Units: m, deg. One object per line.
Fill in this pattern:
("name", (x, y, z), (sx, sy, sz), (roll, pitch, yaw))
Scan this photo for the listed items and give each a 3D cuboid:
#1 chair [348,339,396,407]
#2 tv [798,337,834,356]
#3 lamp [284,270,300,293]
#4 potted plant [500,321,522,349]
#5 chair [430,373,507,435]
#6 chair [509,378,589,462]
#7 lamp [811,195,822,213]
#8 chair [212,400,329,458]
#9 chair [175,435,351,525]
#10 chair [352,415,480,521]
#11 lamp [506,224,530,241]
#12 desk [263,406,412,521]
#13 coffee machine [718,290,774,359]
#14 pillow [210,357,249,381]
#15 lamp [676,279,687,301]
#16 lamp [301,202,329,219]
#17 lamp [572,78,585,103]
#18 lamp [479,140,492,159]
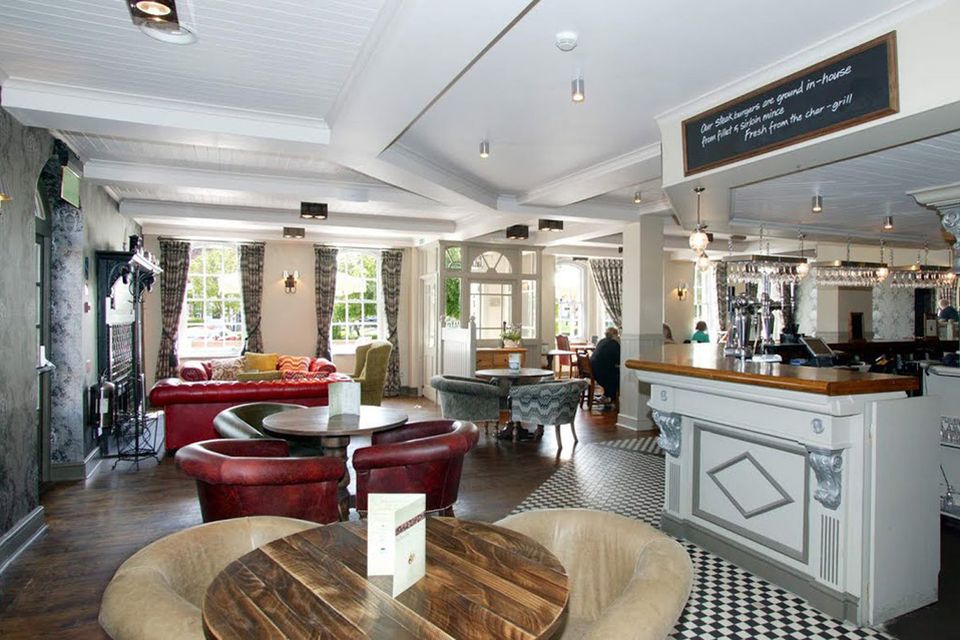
("chair", (-1.627, 0.859, 10.345), (1.023, 1.359, 1.108), (0, 1, -4))
("tv", (4.171, 0.350, 7.461), (0.290, 0.267, 0.567), (-7, -6, 27))
("lamp", (-3.742, -0.723, 12.031), (0.276, 0.432, 0.154), (-2, -6, -17))
("potted plant", (0.618, 0.319, 11.444), (0.479, 0.567, 0.448), (-2, 3, -39))
("chair", (-0.173, 1.092, 8.423), (0.916, 0.723, 0.885), (-1, 0, -17))
("chair", (0.978, 1.319, 8.271), (0.990, 0.933, 1.039), (0, -1, 28))
("lamp", (3.557, -1.212, 6.359), (0.107, 0.164, 0.111), (1, -1, -9))
("chair", (-2.079, 1.024, 5.931), (0.725, 0.672, 0.725), (-7, 1, 2))
("chair", (-1.698, 1.203, 4.649), (0.913, 0.753, 0.892), (-4, 3, -36))
("chair", (-0.563, 1.231, 5.337), (1.007, 0.823, 0.965), (2, -5, -8))
("lamp", (0.629, -1.414, 9.937), (0.282, 0.167, 0.277), (-1, -4, 17))
("desk", (-1.408, 1.198, 5.790), (1.101, 0.662, 1.071), (-1, 5, -27))
("coffee machine", (2.742, 0.081, 6.129), (0.480, 0.624, 0.673), (-6, -6, 20))
("pillow", (-4.427, 0.864, 10.579), (0.541, 0.480, 0.156), (3, -28, -23))
("lamp", (4.991, -0.672, 14.801), (0.413, 0.455, 0.156), (-1, -6, -31))
("lamp", (-2.307, -1.498, 8.429), (0.281, 0.163, 0.259), (0, 3, -18))
("lamp", (0.776, -1.790, 4.742), (0.082, 0.177, 0.083), (-4, -5, 2))
("lamp", (0.064, -1.745, 6.226), (0.118, 0.167, 0.104), (0, -1, 0))
